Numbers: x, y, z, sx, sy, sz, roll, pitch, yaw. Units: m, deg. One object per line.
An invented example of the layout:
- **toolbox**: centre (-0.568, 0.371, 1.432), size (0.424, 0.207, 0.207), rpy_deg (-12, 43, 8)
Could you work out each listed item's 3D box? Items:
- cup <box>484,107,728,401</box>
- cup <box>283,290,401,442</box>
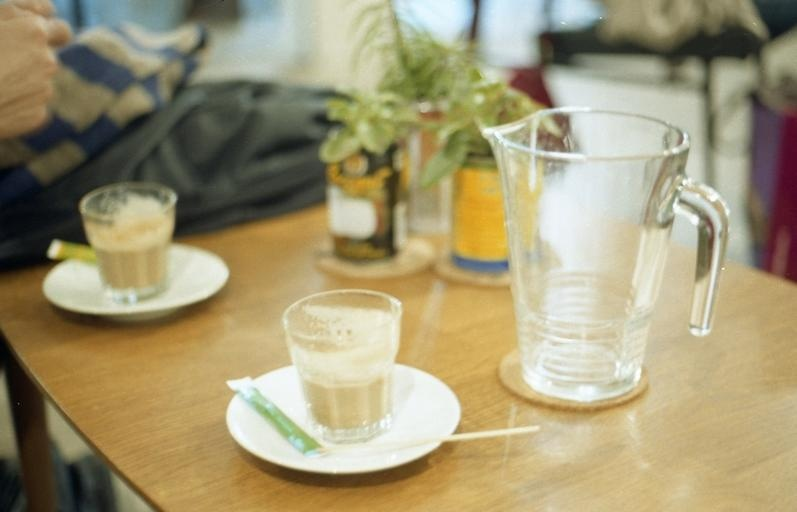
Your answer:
- **cup**: centre (0.226, -0.010, 0.848), size (0.254, 0.301, 0.261), rpy_deg (-2, 33, 1)
- **cup**: centre (-0.064, 0.124, 0.783), size (0.132, 0.121, 0.135), rpy_deg (-2, 33, 1)
